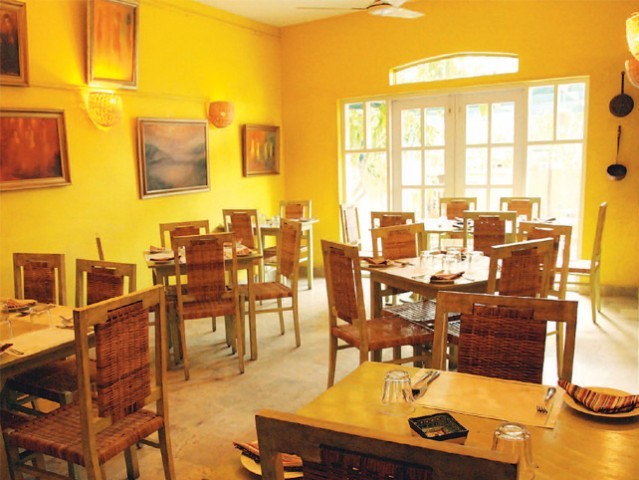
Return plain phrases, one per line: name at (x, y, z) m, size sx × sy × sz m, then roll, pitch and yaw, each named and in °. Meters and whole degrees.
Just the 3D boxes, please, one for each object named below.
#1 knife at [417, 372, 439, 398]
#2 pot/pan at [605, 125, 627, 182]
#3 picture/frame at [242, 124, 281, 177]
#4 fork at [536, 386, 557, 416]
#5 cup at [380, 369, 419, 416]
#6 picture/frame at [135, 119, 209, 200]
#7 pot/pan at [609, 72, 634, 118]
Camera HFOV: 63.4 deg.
knife at (0.439, 0.575, 2.080) m, size 0.043 × 0.023 × 0.160 m, roll 4°, pitch 24°, yaw 36°
pot/pan at (3.384, -0.982, 5.849) m, size 0.166 × 0.598 × 0.183 m, roll -11°, pitch 16°, yaw -34°
picture/frame at (-0.860, -1.302, 7.594) m, size 0.078 × 0.736 × 0.852 m, roll 6°, pitch 12°, yaw 28°
fork at (0.859, 0.606, 1.949) m, size 0.045 × 0.022 × 0.200 m, roll 0°, pitch 14°, yaw 27°
cup at (0.287, 0.571, 1.974) m, size 0.135 × 0.141 × 0.151 m, roll 1°, pitch 4°, yaw 31°
picture/frame at (-1.810, -0.962, 6.169) m, size 0.072 × 0.848 × 1.040 m, roll 4°, pitch 9°, yaw 37°
pot/pan at (3.388, -1.621, 5.787) m, size 0.184 × 0.517 × 0.210 m, roll -8°, pitch 14°, yaw -24°
